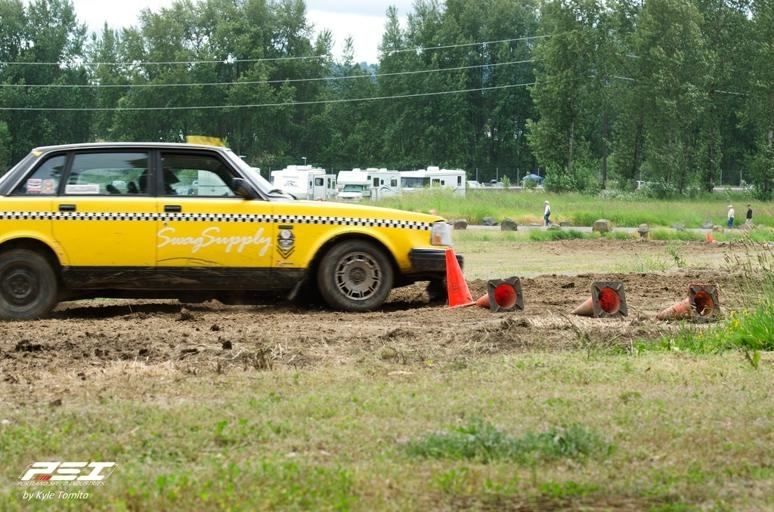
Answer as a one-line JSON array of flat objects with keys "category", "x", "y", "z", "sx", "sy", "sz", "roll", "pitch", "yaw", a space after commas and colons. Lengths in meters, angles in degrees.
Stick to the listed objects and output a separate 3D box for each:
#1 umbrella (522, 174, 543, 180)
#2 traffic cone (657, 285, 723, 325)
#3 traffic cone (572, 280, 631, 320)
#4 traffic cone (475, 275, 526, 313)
[{"category": "umbrella", "x": 12.141, "y": -6.652, "z": 81.638, "sx": 1.407, "sy": 0.477, "sz": 1.296, "roll": 0, "pitch": 1, "yaw": -1}, {"category": "traffic cone", "x": 3.956, "y": 0.616, "z": 12.747, "sx": 0.675, "sy": 0.365, "sz": 0.491, "roll": -8, "pitch": 7, "yaw": -28}, {"category": "traffic cone", "x": 2.817, "y": 0.552, "z": 13.049, "sx": 0.530, "sy": 0.390, "sz": 0.583, "roll": -2, "pitch": -4, "yaw": -26}, {"category": "traffic cone", "x": 1.558, "y": 0.492, "z": 13.175, "sx": 0.472, "sy": 0.436, "sz": 0.190, "roll": -2, "pitch": 7, "yaw": -23}]
